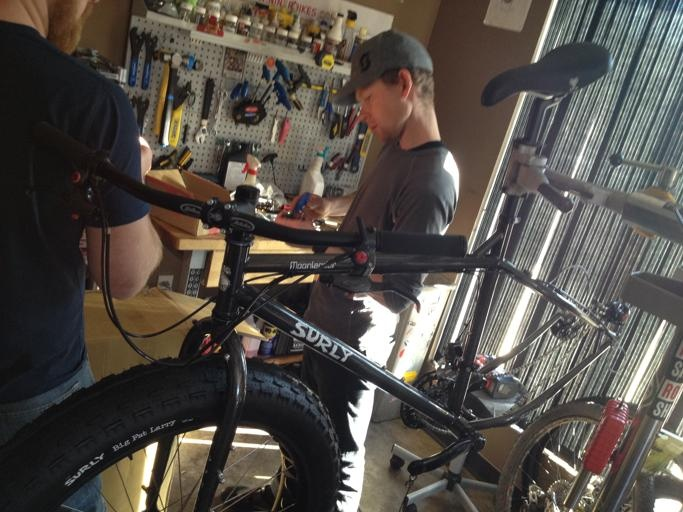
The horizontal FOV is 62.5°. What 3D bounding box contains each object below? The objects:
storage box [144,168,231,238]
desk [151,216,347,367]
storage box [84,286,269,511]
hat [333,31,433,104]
[{"bbox_3d":[-0.583,-0.194,2.087,0.318,0.138,0.198,38,20,27],"label":"storage box"},{"bbox_3d":[-0.655,0.039,3.044,0.534,0.711,0.909,5,4,34],"label":"desk"},{"bbox_3d":[-0.714,0.430,2.112,0.627,0.555,0.629,-14,27,-41],"label":"storage box"},{"bbox_3d":[0.144,-0.800,2.357,0.407,0.251,0.310,-17,4,-16],"label":"hat"}]
